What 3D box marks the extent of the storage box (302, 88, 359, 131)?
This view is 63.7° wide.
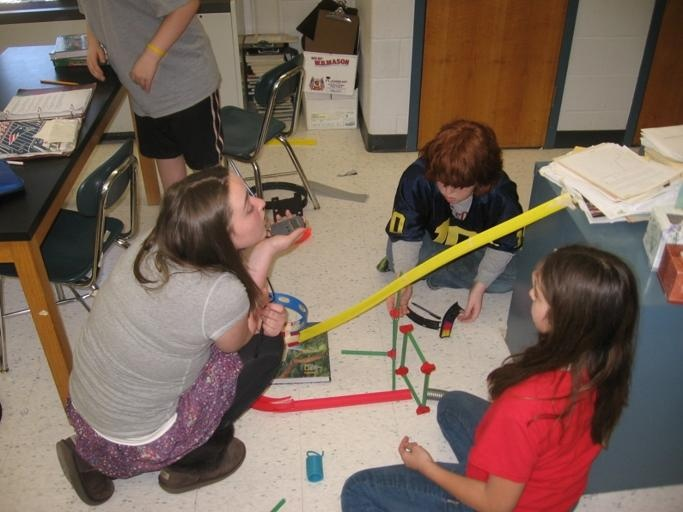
[{"bbox_3d":[-0.092,-1.306,4.937,0.577,0.278,0.566,-8,18,-38],"label":"storage box"}]

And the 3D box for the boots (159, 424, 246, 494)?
[{"bbox_3d":[-0.550,0.791,2.130,0.264,0.255,0.120,-33,58,-30],"label":"boots"}]

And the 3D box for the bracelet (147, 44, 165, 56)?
[{"bbox_3d":[-0.883,-0.984,2.636,0.054,0.015,0.056,25,7,-10],"label":"bracelet"}]

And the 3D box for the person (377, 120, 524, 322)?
[{"bbox_3d":[0.518,-0.199,2.741,0.707,0.990,0.768,-11,54,1],"label":"person"}]

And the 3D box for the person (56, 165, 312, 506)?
[{"bbox_3d":[-0.586,0.351,1.972,0.934,1.271,0.390,-11,30,-23],"label":"person"}]

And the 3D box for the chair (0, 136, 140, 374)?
[{"bbox_3d":[-1.163,0.000,2.332,0.557,0.983,0.533,17,45,-15],"label":"chair"}]

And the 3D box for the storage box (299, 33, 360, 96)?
[{"bbox_3d":[-0.091,-1.490,4.394,0.592,0.611,0.371,2,9,-2],"label":"storage box"}]
